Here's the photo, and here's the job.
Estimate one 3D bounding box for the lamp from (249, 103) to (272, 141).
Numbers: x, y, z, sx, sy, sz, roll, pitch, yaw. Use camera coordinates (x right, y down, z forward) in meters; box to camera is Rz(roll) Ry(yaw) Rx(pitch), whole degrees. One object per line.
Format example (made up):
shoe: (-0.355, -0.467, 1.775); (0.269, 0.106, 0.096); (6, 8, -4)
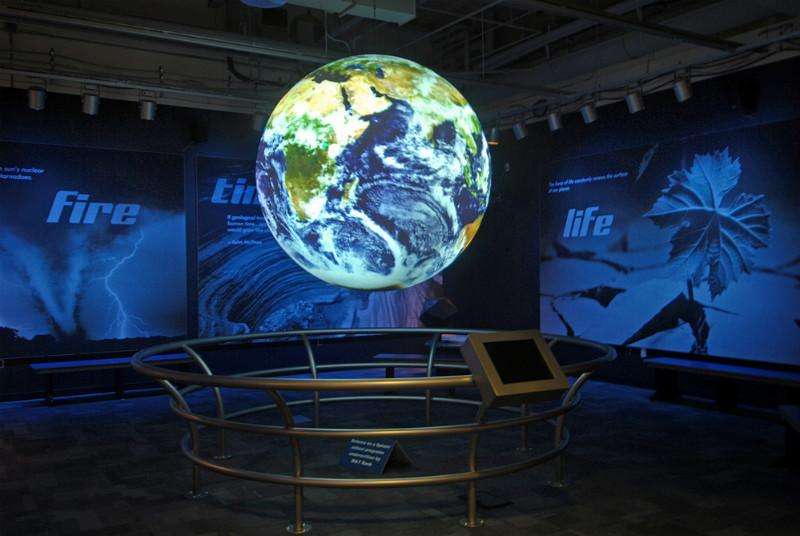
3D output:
lamp: (-2.203, -2.372, 9.350); (0.268, 0.476, 0.717); (-2, 4, -23)

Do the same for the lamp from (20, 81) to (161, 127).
lamp: (-4.239, -2.248, 8.111); (1.629, 0.276, 0.235); (2, 13, -15)

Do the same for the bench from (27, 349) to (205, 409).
bench: (-4.184, 1.511, 8.245); (1.686, 0.554, 0.937); (-2, 4, -27)
